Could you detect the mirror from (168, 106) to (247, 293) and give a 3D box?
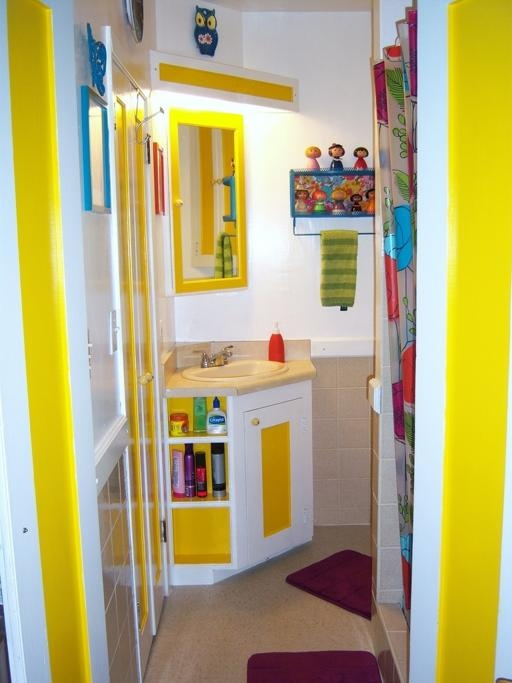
[{"bbox_3d":[-0.225,-0.665,2.855,0.373,0.847,0.052,-7,17,-37],"label":"mirror"}]

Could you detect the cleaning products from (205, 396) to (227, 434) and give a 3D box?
[{"bbox_3d":[-0.165,0.316,2.515,0.078,0.160,0.065,-3,5,-21],"label":"cleaning products"}]

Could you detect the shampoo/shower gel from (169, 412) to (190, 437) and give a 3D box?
[{"bbox_3d":[-0.325,0.354,2.536,0.072,0.103,0.082,2,5,0],"label":"shampoo/shower gel"}]

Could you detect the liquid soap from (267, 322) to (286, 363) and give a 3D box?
[{"bbox_3d":[0.106,0.014,3.021,0.089,0.192,0.199,-1,5,1],"label":"liquid soap"}]

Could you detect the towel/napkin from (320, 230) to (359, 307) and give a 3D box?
[{"bbox_3d":[0.411,-0.362,2.989,0.180,0.368,0.044,-2,5,-10],"label":"towel/napkin"}]

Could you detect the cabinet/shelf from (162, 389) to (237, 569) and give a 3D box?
[{"bbox_3d":[-0.241,0.629,2.577,0.219,0.817,0.259,-1,5,-2],"label":"cabinet/shelf"}]

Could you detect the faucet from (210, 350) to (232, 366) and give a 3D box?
[{"bbox_3d":[-0.180,0.089,2.939,0.047,0.082,0.113,-1,2,-22],"label":"faucet"}]

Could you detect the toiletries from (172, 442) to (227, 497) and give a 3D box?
[{"bbox_3d":[-0.247,0.546,2.514,0.178,0.273,0.163,3,11,4],"label":"toiletries"}]

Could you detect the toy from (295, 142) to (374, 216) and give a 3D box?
[{"bbox_3d":[0.379,-0.750,2.909,0.344,0.404,0.091,5,13,2],"label":"toy"}]
